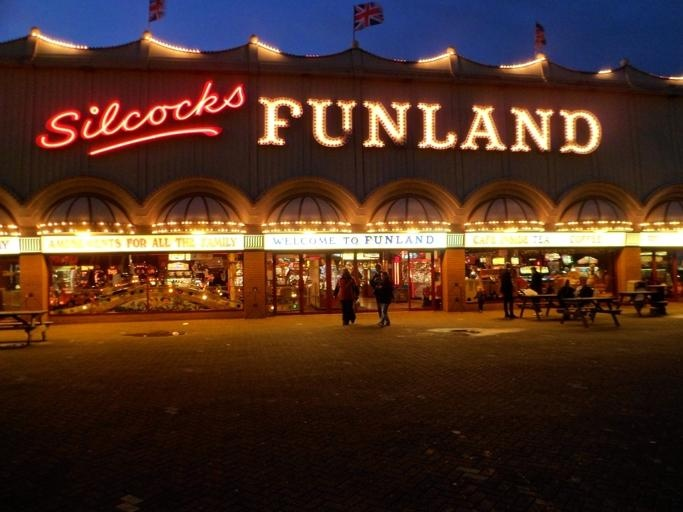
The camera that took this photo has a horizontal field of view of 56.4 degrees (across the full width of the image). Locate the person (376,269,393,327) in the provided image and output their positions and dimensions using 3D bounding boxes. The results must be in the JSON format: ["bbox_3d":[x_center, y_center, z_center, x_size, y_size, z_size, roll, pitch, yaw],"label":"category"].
[{"bbox_3d":[1.421,1.372,21.285,0.506,1.865,0.919,-1,-2,3],"label":"person"}]

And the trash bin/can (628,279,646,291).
[{"bbox_3d":[12.025,1.149,26.019,0.584,0.604,0.313,-1,-8,12],"label":"trash bin/can"}]
